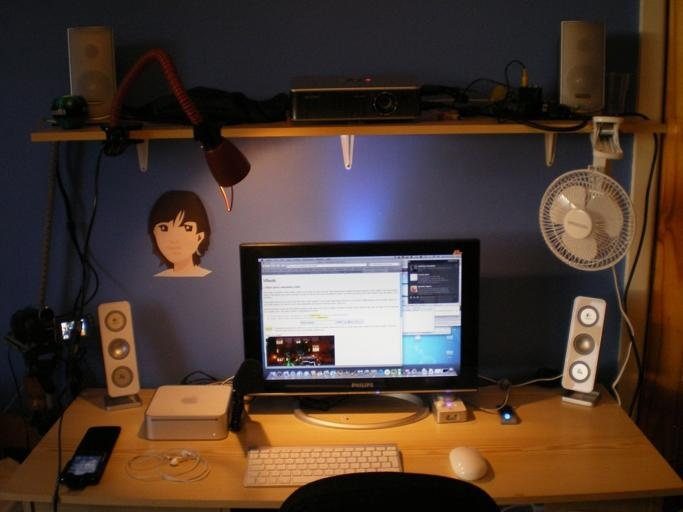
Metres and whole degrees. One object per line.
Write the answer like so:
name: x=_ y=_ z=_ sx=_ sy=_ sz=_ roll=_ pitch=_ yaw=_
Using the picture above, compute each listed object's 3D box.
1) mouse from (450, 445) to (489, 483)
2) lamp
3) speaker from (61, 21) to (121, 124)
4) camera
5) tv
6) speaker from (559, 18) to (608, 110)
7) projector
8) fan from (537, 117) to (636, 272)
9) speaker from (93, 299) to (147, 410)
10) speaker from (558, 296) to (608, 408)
mouse: x=0.378 y=0.603 z=1.920 sx=0.101 sy=0.045 sz=0.132 roll=-6 pitch=31 yaw=-13
lamp: x=-0.412 y=-0.397 z=1.986 sx=0.566 sy=0.262 sz=0.130 roll=40 pitch=7 yaw=-2
speaker: x=-0.843 y=-0.646 z=2.148 sx=0.175 sy=0.309 sz=0.182 roll=-26 pitch=55 yaw=-39
camera: x=-0.999 y=0.298 z=2.286 sx=0.207 sy=0.341 sz=0.280 roll=-6 pitch=17 yaw=-38
tv: x=0.064 y=0.245 z=2.135 sx=0.642 sy=0.521 sz=0.080 roll=-1 pitch=9 yaw=-4
speaker: x=0.775 y=-0.606 z=2.082 sx=0.137 sy=0.289 sz=0.049 roll=-1 pitch=7 yaw=12
projector: x=0.042 y=-0.474 z=1.949 sx=0.384 sy=0.125 sz=0.065 roll=-3 pitch=7 yaw=-4
fan: x=0.786 y=-0.202 z=2.070 sx=0.277 sy=0.479 sz=0.222 roll=1 pitch=8 yaw=24
speaker: x=-0.777 y=0.331 z=2.271 sx=0.129 sy=0.387 sz=0.132 roll=-4 pitch=11 yaw=-17
speaker: x=0.810 y=0.327 z=2.225 sx=0.126 sy=0.398 sz=0.124 roll=3 pitch=16 yaw=5
